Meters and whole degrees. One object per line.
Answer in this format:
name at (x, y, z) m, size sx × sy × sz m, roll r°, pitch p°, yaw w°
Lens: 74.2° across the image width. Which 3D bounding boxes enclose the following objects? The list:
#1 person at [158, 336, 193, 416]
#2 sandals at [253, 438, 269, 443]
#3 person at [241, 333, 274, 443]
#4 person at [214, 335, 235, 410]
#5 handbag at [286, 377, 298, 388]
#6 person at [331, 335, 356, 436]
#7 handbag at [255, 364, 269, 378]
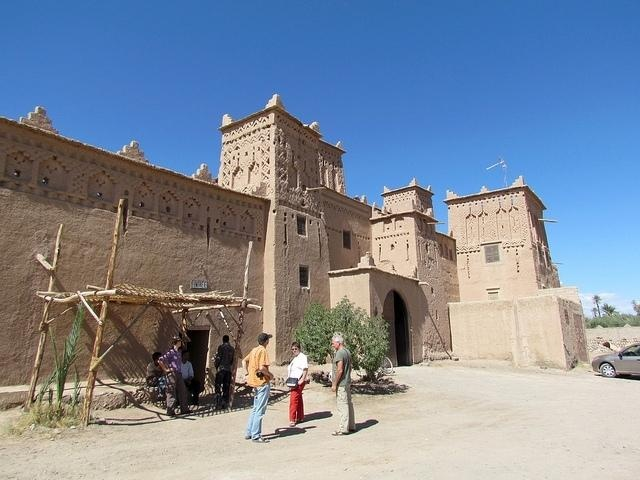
person at (-3.613, 3.383, 10.496) m, size 0.715 × 1.812 × 0.683 m, roll 2°, pitch -9°, yaw -8°
sandals at (-1.186, 3.992, 8.453) m, size 0.333 × 0.142 × 0.115 m, roll -4°, pitch -16°, yaw 12°
person at (-1.294, 2.981, 8.579) m, size 0.596 × 2.118 × 0.606 m, roll 2°, pitch -9°, yaw -10°
person at (-2.604, 3.674, 11.446) m, size 0.494 × 1.631 × 0.580 m, roll 3°, pitch -9°, yaw -16°
handbag at (-0.612, 3.103, 9.191) m, size 0.351 × 0.232 × 0.160 m, roll -3°, pitch -10°, yaw 23°
person at (0.499, 3.075, 8.972) m, size 0.507 × 2.096 × 0.968 m, roll 0°, pitch -9°, yaw 3°
handbag at (-1.144, 2.610, 8.460) m, size 0.185 × 0.261 × 0.249 m, roll -5°, pitch -1°, yaw 30°
